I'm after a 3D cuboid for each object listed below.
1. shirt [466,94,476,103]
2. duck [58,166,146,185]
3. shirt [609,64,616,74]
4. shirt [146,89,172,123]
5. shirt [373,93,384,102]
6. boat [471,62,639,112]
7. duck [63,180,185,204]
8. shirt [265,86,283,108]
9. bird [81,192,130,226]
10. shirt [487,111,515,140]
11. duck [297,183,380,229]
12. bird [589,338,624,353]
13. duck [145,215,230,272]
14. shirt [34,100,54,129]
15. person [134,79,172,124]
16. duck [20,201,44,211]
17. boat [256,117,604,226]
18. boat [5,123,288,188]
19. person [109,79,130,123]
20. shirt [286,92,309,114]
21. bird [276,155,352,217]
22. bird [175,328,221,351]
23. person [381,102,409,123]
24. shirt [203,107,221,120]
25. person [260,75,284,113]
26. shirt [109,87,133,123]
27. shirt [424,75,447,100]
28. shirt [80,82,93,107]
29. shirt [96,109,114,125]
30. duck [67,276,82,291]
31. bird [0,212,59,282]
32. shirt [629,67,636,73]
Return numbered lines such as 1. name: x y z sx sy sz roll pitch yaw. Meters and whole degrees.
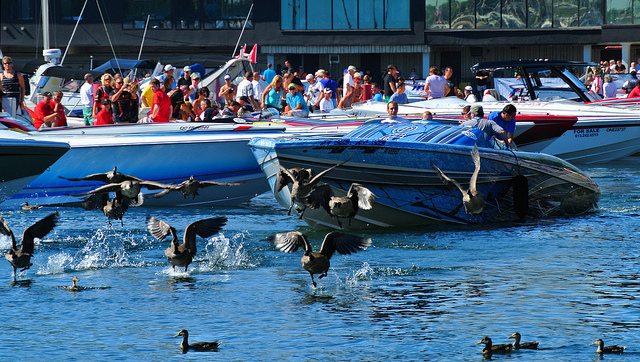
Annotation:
1. shirt: 5.948 -3.195 55.373 0.474 0.307 0.587 0 19 11
2. duck: -6.680 -0.059 43.746 1.613 0.654 2.743 2 0 -1
3. shirt: 12.830 -4.834 61.470 0.357 0.338 0.155 10 -4 -22
4. shirt: -5.798 -2.605 49.760 0.734 1.138 1.193 -5 -2 10
5. shirt: 2.248 -3.219 54.996 0.300 0.372 0.543 5 7 21
6. boat: 10.336 -3.616 54.447 8.991 2.387 2.329 2 7 19
7. duck: -6.089 0.312 43.391 1.659 0.540 0.938 -6 27 3
8. shirt: -1.841 -3.131 53.554 0.694 0.833 0.494 23 -7 -23
9. bird: -6.761 0.823 44.407 1.297 0.744 1.045 6 37 0
10. shirt: 5.950 -1.777 46.262 1.105 0.912 0.548 -2 1 -12
11. duck: 0.555 0.778 42.591 2.329 1.226 1.436 -1 0 -3
12. bird: 8.184 4.782 40.078 0.889 0.295 0.548 0 44 0
13. duck: -4.081 1.991 42.302 2.226 1.719 0.815 -1 7 18
14. shirt: -10.246 -2.383 51.173 0.809 0.876 0.598 -6 7 -28
15. person: -5.981 -2.562 49.738 1.393 1.913 1.156 -3 0 -15
16. duck: -9.720 0.914 46.931 0.776 0.296 0.221 2 -5 -1
17. boat: 3.652 -0.734 45.558 10.247 2.639 3.859 6 -3 -21
18. boat: -5.778 -0.962 47.669 9.250 1.865 3.066 -2 6 -12
19. person: -7.340 -2.840 50.745 0.723 1.474 1.632 -4 6 -8
20. shirt: -0.948 -2.859 52.618 0.957 0.762 0.523 -13 6 33
21. bird: -0.658 0.387 42.886 0.933 1.641 1.444 -6 7 -24
22. bird: -3.530 4.684 40.337 1.398 0.832 0.441 0 -7 -31
23. person: 2.639 -2.360 50.009 1.190 0.732 0.538 -2 -6 0
24. shirt: -3.977 -2.357 49.800 0.456 0.407 0.987 -3 6 4
25. person: -1.934 -3.293 53.616 0.837 1.294 0.807 -4 6 -3
26. shirt: -7.170 -2.566 50.466 0.786 1.230 1.361 -5 -4 21
27. shirt: 4.463 -3.600 55.565 1.117 0.969 0.567 7 -3 -30
28. shirt: -8.882 -3.193 52.853 0.438 0.895 1.091 -5 6 -10
29. shirt: -7.795 -2.178 49.883 0.774 0.616 0.498 -2 4 -34
30. duck: -7.425 3.130 41.885 0.420 0.381 0.288 -4 6 -11
31. bird: -9.002 2.165 43.003 1.614 1.332 0.904 -25 -32 15
32. shirt: 13.536 -4.743 60.750 0.317 0.144 0.422 3 3 12
